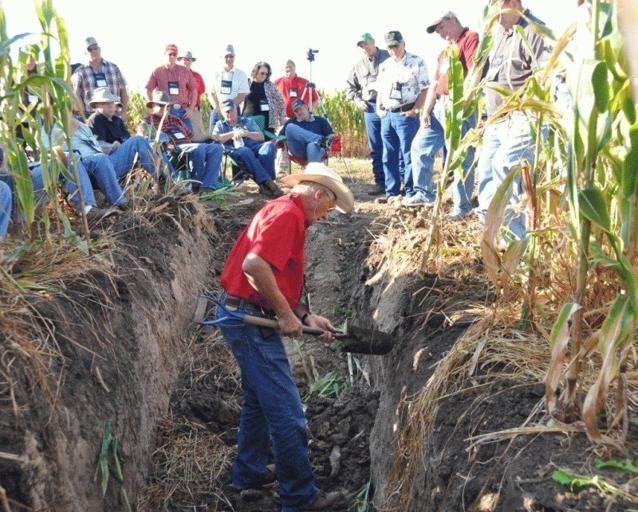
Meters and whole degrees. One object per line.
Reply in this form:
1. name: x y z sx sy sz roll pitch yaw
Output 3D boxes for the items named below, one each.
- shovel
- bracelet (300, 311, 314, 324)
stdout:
1. shovel: -0.213 0.523 5.237 0.918 0.253 0.169 19 31 -3
2. bracelet: -0.099 0.434 4.983 0.068 0.077 0.069 -1 -9 7
